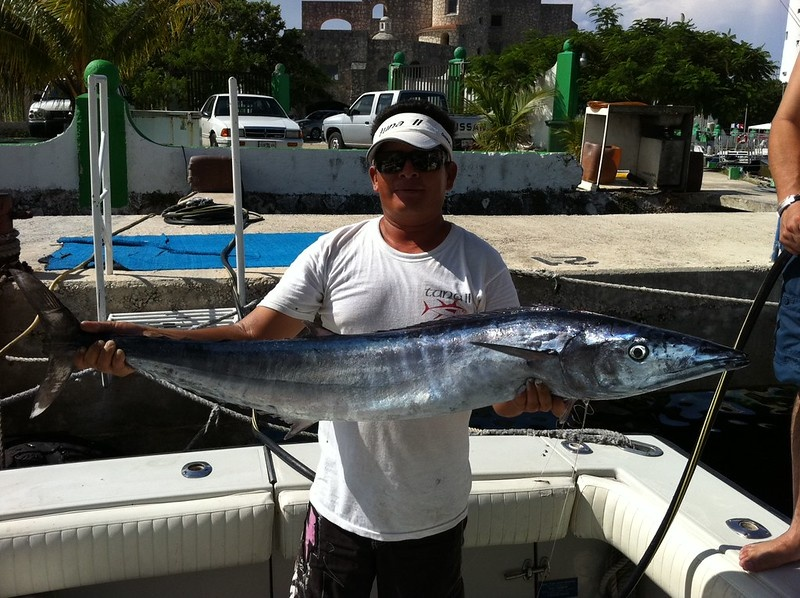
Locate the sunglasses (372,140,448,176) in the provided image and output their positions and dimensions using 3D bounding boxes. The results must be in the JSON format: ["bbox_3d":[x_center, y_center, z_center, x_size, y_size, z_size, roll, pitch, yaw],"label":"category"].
[{"bbox_3d":[0.048,-0.605,3.184,0.316,0.135,0.089,0,14,2],"label":"sunglasses"}]
